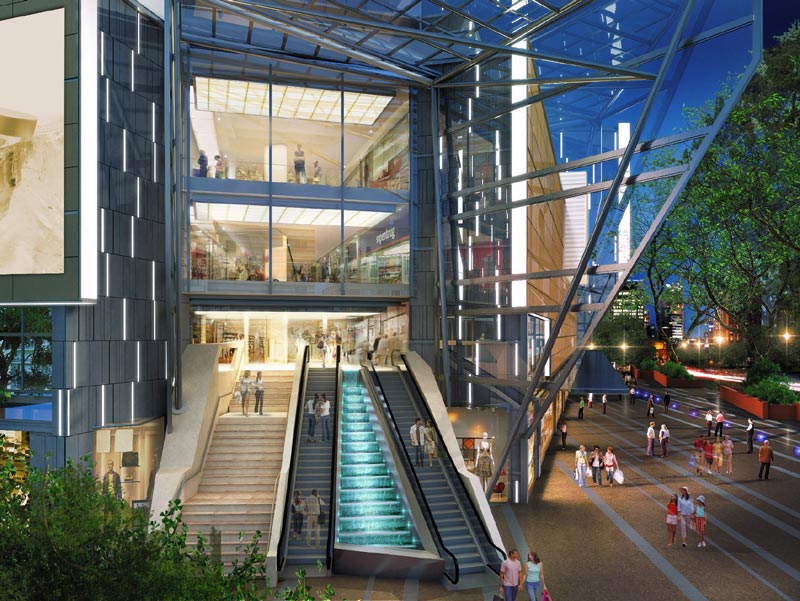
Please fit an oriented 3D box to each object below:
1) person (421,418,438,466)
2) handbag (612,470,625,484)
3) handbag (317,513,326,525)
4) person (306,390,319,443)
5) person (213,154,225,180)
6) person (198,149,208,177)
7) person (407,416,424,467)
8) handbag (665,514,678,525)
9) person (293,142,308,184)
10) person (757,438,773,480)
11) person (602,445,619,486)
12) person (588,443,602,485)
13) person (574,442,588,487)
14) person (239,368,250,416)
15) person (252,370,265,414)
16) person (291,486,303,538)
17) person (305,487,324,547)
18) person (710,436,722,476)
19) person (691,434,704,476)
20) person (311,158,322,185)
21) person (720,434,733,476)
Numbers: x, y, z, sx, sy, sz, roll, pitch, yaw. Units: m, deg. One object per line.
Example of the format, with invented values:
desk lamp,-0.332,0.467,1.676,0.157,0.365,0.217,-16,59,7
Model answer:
person,0.962,4.525,22.393,0.472,1.149,0.722,0,2,1
handbag,8.038,6.546,26.303,0.236,0.524,0.555,0,7,-10
handbag,-2.124,5.942,19.408,0.271,0.378,0.135,5,-1,-32
person,-2.879,3.761,23.613,0.404,1.389,1.910,0,2,-8
person,-6.916,-5.134,27.513,0.439,0.891,0.345,0,2,-14
person,-7.522,-5.142,27.432,0.376,0.864,0.329,0,2,-18
person,0.572,4.411,22.360,0.400,1.310,0.738,0,2,-3
handbag,7.492,6.066,19.744,0.409,0.374,0.236,0,-19,7
person,-3.982,-5.292,28.457,0.467,1.264,0.485,0,2,-15
person,13.492,5.870,26.399,0.419,1.333,1.655,1,2,27
person,8.033,6.164,27.250,0.565,1.504,2.508,1,2,16
person,7.395,6.174,26.860,0.405,1.311,0.988,1,2,15
person,6.841,6.186,26.870,0.457,1.311,1.677,1,2,15
person,-5.711,3.375,26.345,0.345,1.555,1.280,0,2,-13
person,-5.132,3.384,26.037,0.316,1.513,0.734,0,2,-15
person,-2.759,5.736,19.323,0.276,1.253,0.243,0,2,-13
person,-2.305,5.821,19.281,0.464,1.527,0.846,0,2,-9
person,12.309,6.005,27.747,0.397,1.182,1.539,1,2,25
person,11.510,6.015,27.479,0.341,1.336,0.893,1,2,22
person,-3.300,-5.118,28.566,0.376,0.975,0.268,0,2,-14
person,12.730,5.904,27.676,0.389,1.460,1.633,1,2,24
